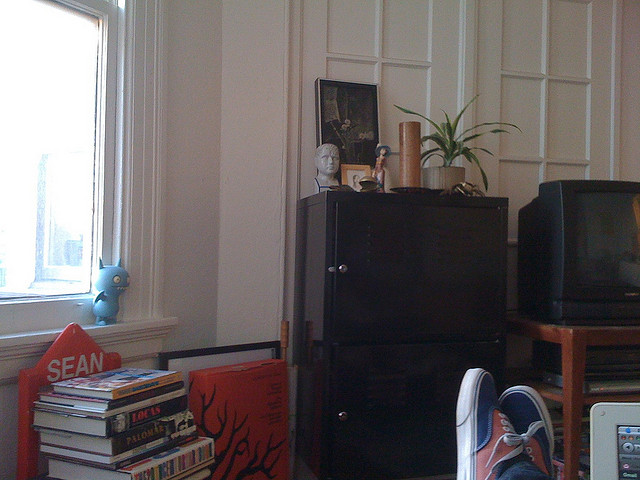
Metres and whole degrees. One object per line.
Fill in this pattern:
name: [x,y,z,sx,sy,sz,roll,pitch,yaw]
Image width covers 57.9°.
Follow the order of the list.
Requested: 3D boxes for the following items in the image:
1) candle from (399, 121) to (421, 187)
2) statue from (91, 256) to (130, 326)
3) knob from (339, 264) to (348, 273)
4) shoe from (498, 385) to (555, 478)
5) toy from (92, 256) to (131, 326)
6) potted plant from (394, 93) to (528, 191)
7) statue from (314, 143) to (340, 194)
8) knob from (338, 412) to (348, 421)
candle: [0.377,-0.353,2.402,0.081,0.270,0.050,1,2,-2]
statue: [-0.796,0.193,2.195,0.145,0.257,0.162,-1,-3,17]
knob: [0.091,0.111,2.195,0.031,0.029,0.010,1,2,2]
shoe: [0.791,0.682,2.243,0.140,0.458,0.161,-7,-18,1]
toy: [-0.796,0.193,2.197,0.145,0.256,0.170,-1,-2,21]
potted plant: [0.597,-0.386,2.560,0.452,0.366,0.414,3,8,9]
statue: [0.036,-0.317,2.549,0.101,0.203,0.127,1,2,2]
knob: [0.089,0.662,2.167,0.033,0.032,0.020,-2,3,-8]
